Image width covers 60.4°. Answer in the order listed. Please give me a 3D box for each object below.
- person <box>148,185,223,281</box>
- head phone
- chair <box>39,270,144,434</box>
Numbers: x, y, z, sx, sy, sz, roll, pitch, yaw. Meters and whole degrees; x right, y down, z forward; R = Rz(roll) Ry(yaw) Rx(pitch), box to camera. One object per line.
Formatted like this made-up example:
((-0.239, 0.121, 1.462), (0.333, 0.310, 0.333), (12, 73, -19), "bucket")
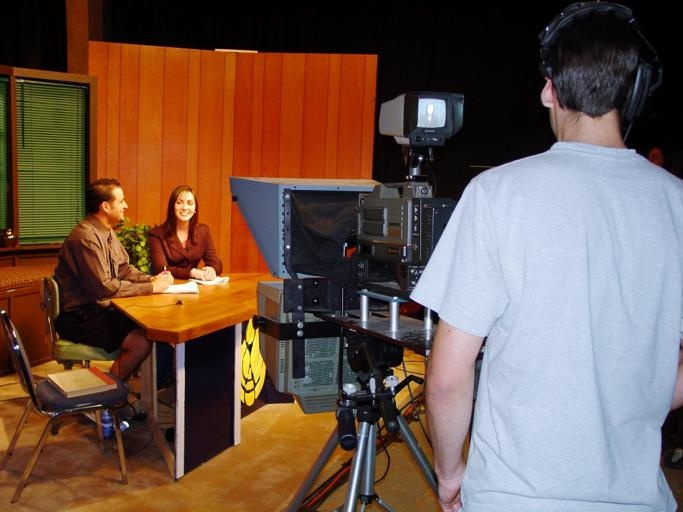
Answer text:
((-1.167, -0.108, 4.390), (0.478, 0.812, 0.461), (-3, 11, -35), "person")
((0.563, -0.424, 1.283), (0.237, 0.317, 0.114), (3, 15, 6), "head phone")
((-1.622, 0.582, 3.695), (0.491, 0.863, 0.471), (0, 1, -42), "chair")
